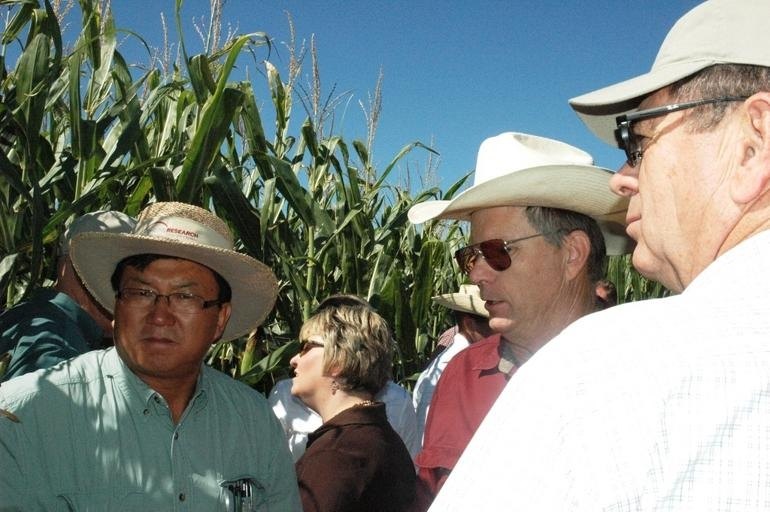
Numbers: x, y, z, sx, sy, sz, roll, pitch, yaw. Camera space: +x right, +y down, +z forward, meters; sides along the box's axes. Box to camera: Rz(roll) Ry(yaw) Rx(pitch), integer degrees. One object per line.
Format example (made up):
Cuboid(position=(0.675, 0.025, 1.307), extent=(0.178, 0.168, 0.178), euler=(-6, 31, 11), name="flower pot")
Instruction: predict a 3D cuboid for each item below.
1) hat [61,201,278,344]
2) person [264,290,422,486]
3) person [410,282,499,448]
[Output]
Cuboid(position=(-1.043, 0.035, 4.019), extent=(0.927, 0.295, 0.846), euler=(30, -43, -24), name="hat")
Cuboid(position=(-0.317, 0.850, 4.974), extent=(1.055, 1.252, 0.484), euler=(-4, -28, 0), name="person")
Cuboid(position=(0.457, 0.737, 5.325), extent=(0.398, 1.211, 0.460), euler=(10, -50, 21), name="person")
